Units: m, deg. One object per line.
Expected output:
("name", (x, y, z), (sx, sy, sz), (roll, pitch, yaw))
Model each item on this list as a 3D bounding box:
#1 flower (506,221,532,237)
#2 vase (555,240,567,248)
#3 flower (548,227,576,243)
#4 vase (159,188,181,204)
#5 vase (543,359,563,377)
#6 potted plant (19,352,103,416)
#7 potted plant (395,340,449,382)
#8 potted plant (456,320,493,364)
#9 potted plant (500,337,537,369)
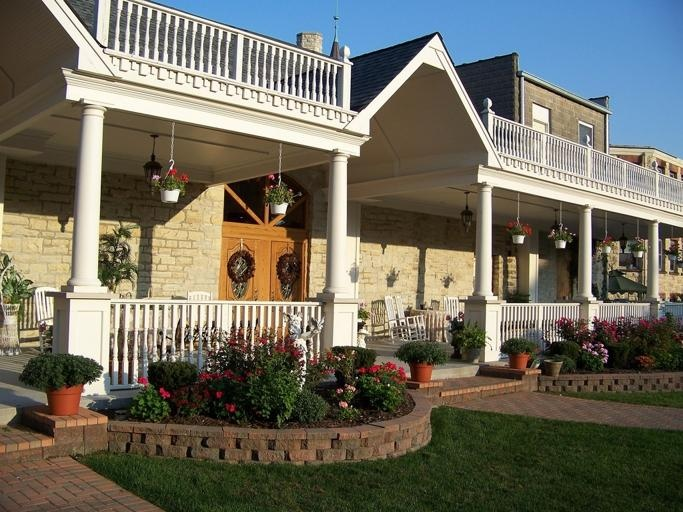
("flower", (4.402, -0.686, 17.053), (0.476, 0.323, 0.472), (1, 5, -30))
("vase", (5.458, -0.294, 17.102), (0.313, 0.235, 0.334), (-2, -7, 34))
("flower", (5.890, -0.580, 18.462), (0.482, 0.344, 0.516), (2, 1, 11))
("vase", (-2.752, -0.974, 11.159), (0.220, 0.247, 0.324), (13, 16, 29))
("vase", (4.241, 2.235, 13.781), (0.301, 0.266, 0.324), (3, -9, -6))
("potted plant", (-3.489, 1.518, 8.550), (0.859, 0.728, 0.750), (2, -8, -8))
("potted plant", (1.366, 1.746, 11.819), (0.744, 0.633, 0.672), (2, -9, -9))
("potted plant", (2.612, 1.762, 14.079), (0.712, 0.801, 0.720), (5, -7, -43))
("potted plant", (3.552, 1.939, 13.831), (0.578, 0.627, 0.596), (-5, -8, 36))
